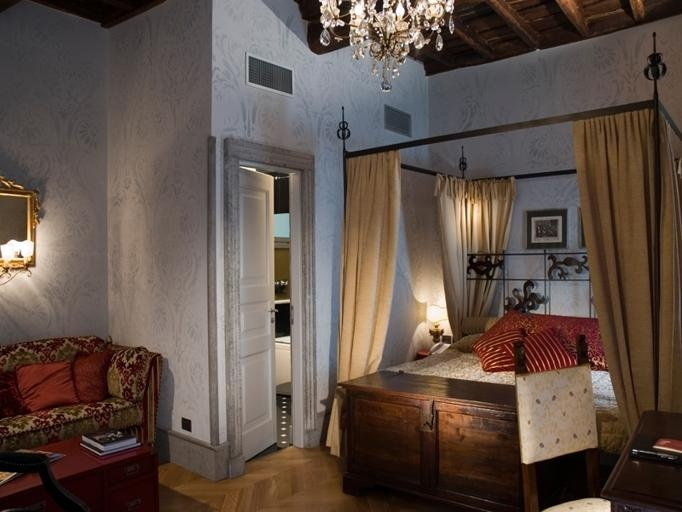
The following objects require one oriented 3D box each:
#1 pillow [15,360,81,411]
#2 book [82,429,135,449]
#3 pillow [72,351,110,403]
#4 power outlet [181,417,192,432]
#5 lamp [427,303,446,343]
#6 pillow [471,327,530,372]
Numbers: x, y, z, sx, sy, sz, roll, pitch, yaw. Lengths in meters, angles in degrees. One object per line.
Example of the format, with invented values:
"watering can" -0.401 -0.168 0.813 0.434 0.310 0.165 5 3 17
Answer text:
"pillow" -2.450 1.072 4.385 0.430 0.315 0.308 -7 10 -34
"book" -1.619 1.265 3.656 0.166 0.040 0.171 0 -4 41
"pillow" -2.161 1.044 4.541 0.324 0.355 0.095 7 -23 -43
"power outlet" -1.339 1.455 4.543 0.097 0.118 0.028 0 -1 35
"lamp" 1.159 0.853 6.440 0.254 0.466 0.287 4 -13 -16
"pillow" 1.341 0.788 4.413 0.334 0.109 0.363 -25 21 16
